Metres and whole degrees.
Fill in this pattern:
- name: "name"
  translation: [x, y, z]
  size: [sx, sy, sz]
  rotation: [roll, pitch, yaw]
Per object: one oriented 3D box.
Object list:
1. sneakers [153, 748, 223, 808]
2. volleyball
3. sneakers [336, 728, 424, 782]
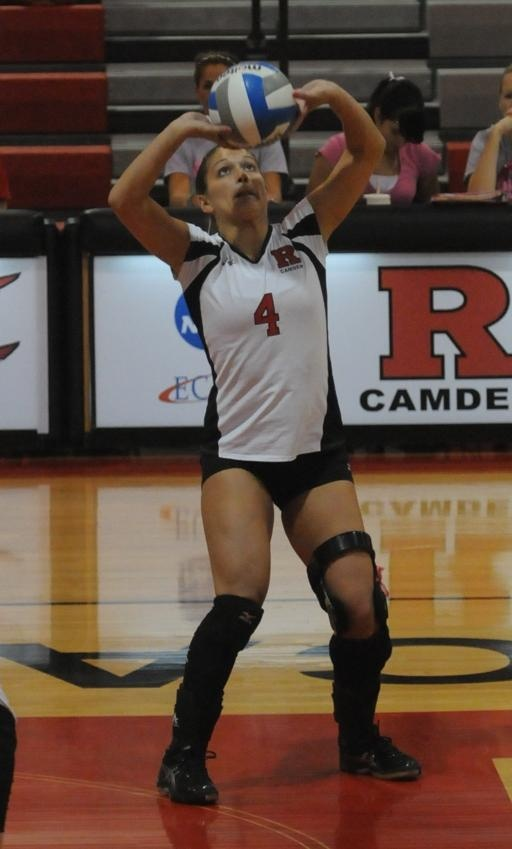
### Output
- name: "sneakers"
  translation: [-0.113, 0.570, 1.575]
  size: [0.054, 0.062, 0.137]
  rotation: [9, -4, -31]
- name: "volleyball"
  translation: [-0.005, -0.635, 1.997]
  size: [0.164, 0.143, 0.190]
  rotation: [1, -19, -1]
- name: "sneakers"
  translation: [0.215, 0.572, 1.694]
  size: [0.148, 0.079, 0.052]
  rotation: [5, 8, 21]
